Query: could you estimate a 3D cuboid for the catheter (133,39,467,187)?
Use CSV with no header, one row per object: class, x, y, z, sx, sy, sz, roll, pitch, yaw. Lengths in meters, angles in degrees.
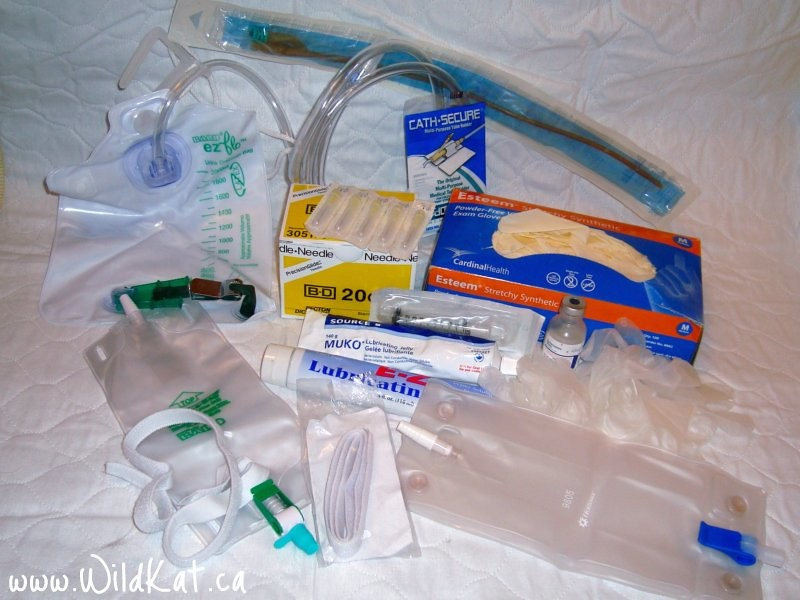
catheter,-0.183,-0.379,1.228,0.598,0.280,0.164,-6,37,-18
